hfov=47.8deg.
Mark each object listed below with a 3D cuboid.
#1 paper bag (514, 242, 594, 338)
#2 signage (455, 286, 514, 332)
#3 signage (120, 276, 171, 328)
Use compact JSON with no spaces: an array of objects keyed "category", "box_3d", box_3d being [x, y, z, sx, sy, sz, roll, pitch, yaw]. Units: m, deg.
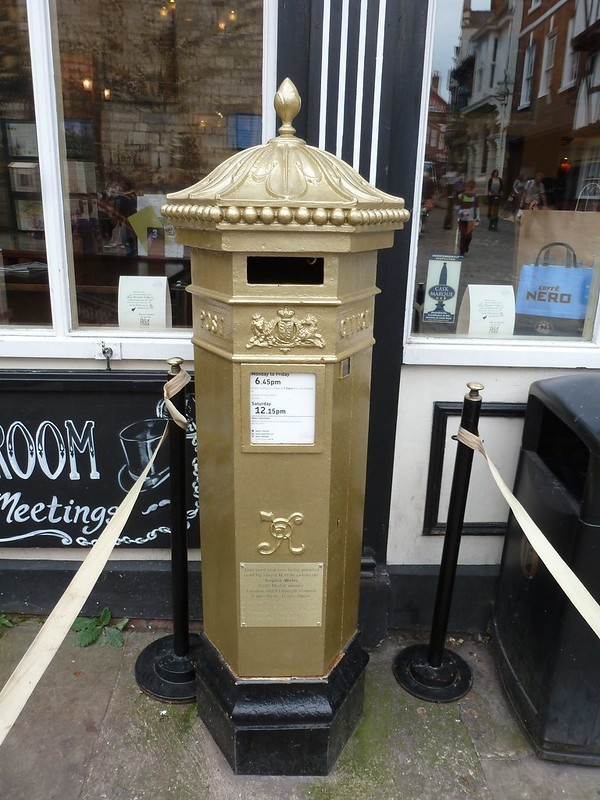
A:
[{"category":"paper bag","box_3d":[1.159,-0.500,3.066,0.388,0.573,0.181,2,1,7]},{"category":"signage","box_3d":[0.866,-0.411,3.096,0.209,0.212,0.119,-1,16,-1]},{"category":"signage","box_3d":[-0.694,-0.433,3.048,0.219,0.237,0.124,-1,0,-4]}]
